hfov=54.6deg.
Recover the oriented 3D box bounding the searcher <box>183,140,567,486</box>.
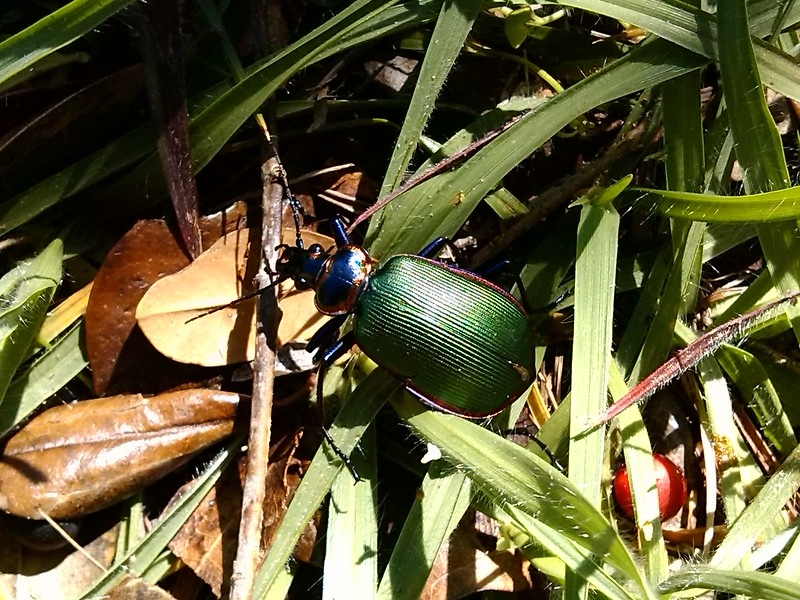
[{"bbox_3d":[-0.080,0.011,2.353,1.048,0.890,0.297,20,-9,11],"label":"searcher"}]
